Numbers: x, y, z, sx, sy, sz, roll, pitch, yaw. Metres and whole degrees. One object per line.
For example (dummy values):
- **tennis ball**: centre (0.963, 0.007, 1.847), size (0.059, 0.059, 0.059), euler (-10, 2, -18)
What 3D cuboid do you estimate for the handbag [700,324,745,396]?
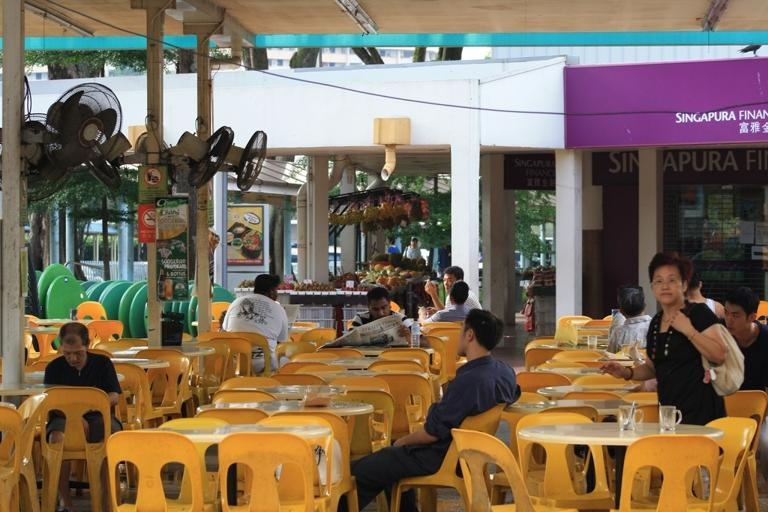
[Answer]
- **handbag**: centre (3.380, 1.065, 13.457), size (0.389, 0.818, 0.675), euler (-11, -4, 1)

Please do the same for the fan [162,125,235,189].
- **fan**: centre (-2.449, -1.325, 17.847), size (0.872, 0.771, 0.415), euler (-1, -1, 3)

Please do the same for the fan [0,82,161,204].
- **fan**: centre (-4.238, -1.467, 16.698), size (1.745, 1.275, 1.379), euler (13, 10, 16)

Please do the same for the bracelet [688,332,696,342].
- **bracelet**: centre (3.087, 0.799, 13.390), size (0.072, 0.101, 0.044), euler (0, -5, -6)

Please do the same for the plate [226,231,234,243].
- **plate**: centre (-3.301, -0.427, 29.090), size (0.145, 0.241, 0.185), euler (-1, -1, -11)

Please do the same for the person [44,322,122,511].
- **person**: centre (-3.344, 1.765, 14.945), size (0.827, 2.048, 0.828), euler (-1, -1, -15)

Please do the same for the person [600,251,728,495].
- **person**: centre (2.924, 0.820, 13.558), size (1.049, 1.824, 0.562), euler (-1, -1, 17)
